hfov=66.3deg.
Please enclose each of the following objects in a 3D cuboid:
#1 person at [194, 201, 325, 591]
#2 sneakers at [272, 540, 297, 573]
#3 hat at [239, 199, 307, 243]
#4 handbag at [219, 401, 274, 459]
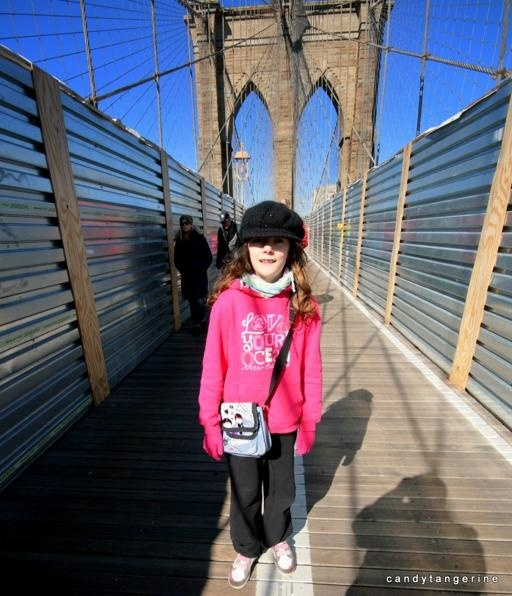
[{"bbox_3d":[0.026,0.405,1.624,0.495,1.582,0.485,-2,9,-1],"label":"person"},{"bbox_3d":[0.126,1.115,1.688,0.065,0.065,0.158,1,-12,-1],"label":"sneakers"},{"bbox_3d":[0.063,-0.292,1.534,0.146,0.115,0.207,2,6,8],"label":"hat"},{"bbox_3d":[-0.038,0.479,1.437,0.208,0.224,0.108,-3,-6,14],"label":"handbag"}]
